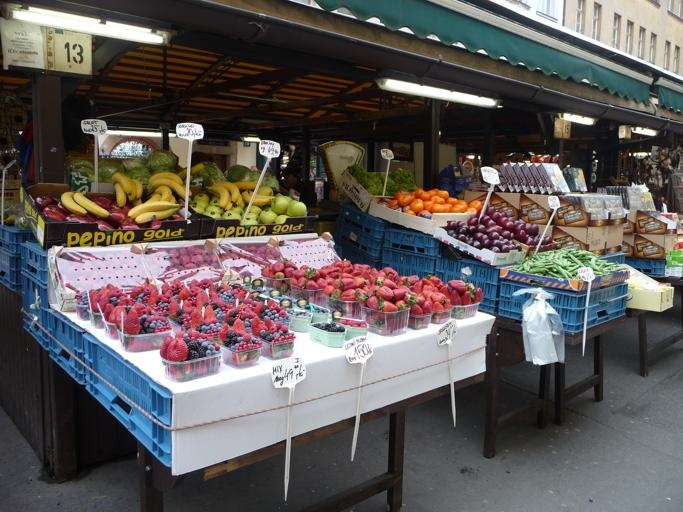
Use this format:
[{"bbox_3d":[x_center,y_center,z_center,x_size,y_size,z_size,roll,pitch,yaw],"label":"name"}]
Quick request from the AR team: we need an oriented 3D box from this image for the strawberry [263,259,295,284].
[{"bbox_3d":[-0.451,0.112,3.728,0.171,0.099,0.178,-6,7,-35],"label":"strawberry"}]

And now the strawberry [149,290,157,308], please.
[{"bbox_3d":[-1.148,0.264,3.088,0.048,0.090,0.030,3,-13,-10],"label":"strawberry"}]

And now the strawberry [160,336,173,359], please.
[{"bbox_3d":[-0.869,0.459,2.528,0.042,0.104,0.079,10,4,-23],"label":"strawberry"}]

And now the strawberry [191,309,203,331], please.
[{"bbox_3d":[-0.826,0.357,2.891,0.065,0.093,0.147,-3,13,-17],"label":"strawberry"}]

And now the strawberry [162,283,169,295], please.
[{"bbox_3d":[-1.146,0.219,3.312,0.062,0.038,0.079,14,12,-21],"label":"strawberry"}]

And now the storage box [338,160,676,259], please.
[{"bbox_3d":[2.784,-0.773,6.877,4.647,1.162,1.557,7,10,28],"label":"storage box"}]

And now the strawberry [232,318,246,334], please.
[{"bbox_3d":[-0.564,0.388,2.806,0.066,0.072,0.100,-2,13,-12],"label":"strawberry"}]

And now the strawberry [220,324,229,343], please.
[{"bbox_3d":[-0.638,0.423,2.755,0.046,0.090,0.030,10,-12,44],"label":"strawberry"}]

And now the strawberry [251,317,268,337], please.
[{"bbox_3d":[-0.466,0.396,2.834,0.080,0.106,0.042,-4,-32,-13],"label":"strawberry"}]

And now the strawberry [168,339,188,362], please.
[{"bbox_3d":[-0.812,0.463,2.499,0.092,0.109,0.053,-3,-6,5],"label":"strawberry"}]

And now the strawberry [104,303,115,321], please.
[{"bbox_3d":[-1.360,0.334,2.953,0.039,0.108,0.082,6,34,0],"label":"strawberry"}]

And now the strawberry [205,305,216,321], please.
[{"bbox_3d":[-0.760,0.337,2.950,0.051,0.096,0.033,-15,-18,2],"label":"strawberry"}]
